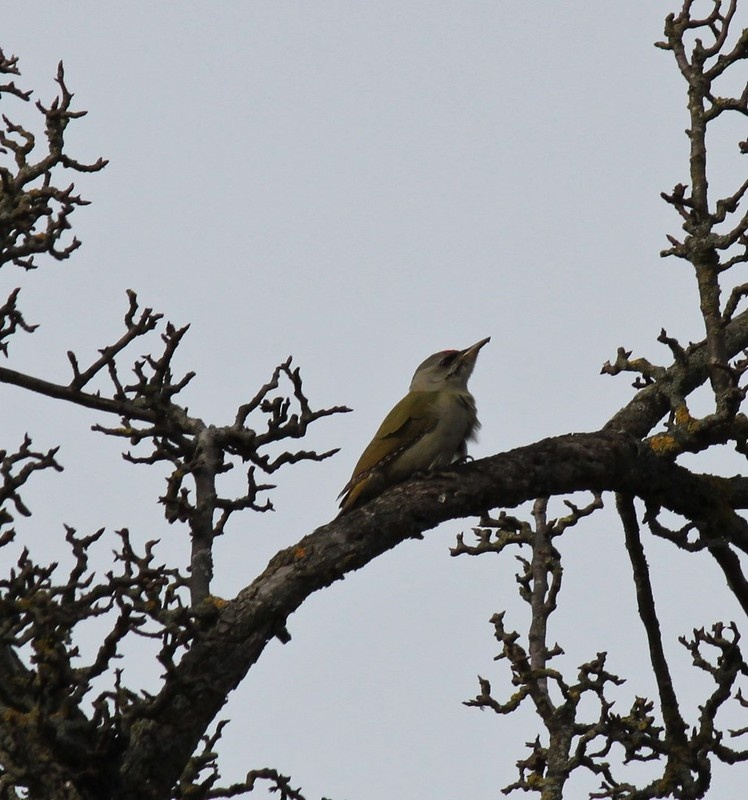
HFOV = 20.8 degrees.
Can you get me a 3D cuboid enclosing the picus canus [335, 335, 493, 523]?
[{"bbox_3d":[0.175,0.285,12.856,1.031,1.329,0.670,-8,-38,8],"label":"picus canus"}]
